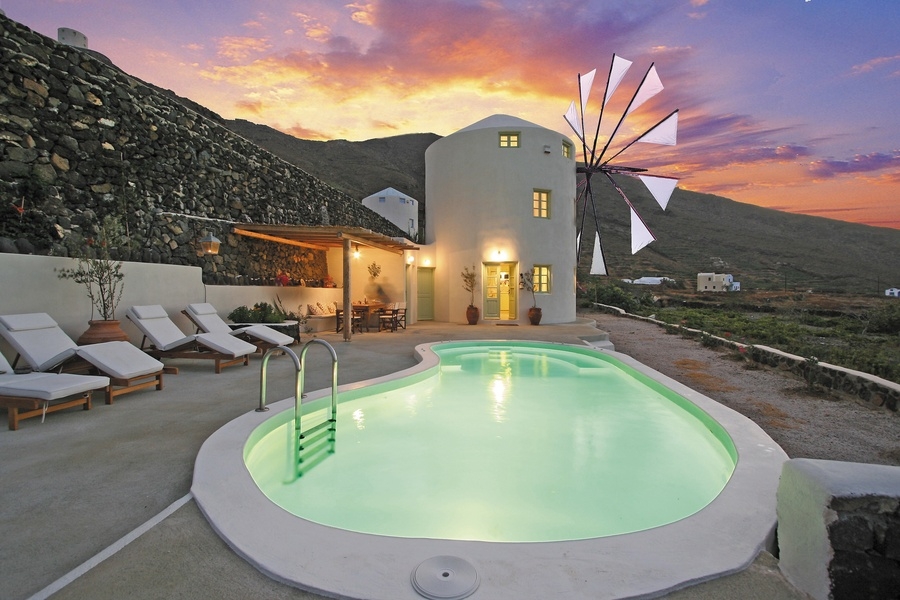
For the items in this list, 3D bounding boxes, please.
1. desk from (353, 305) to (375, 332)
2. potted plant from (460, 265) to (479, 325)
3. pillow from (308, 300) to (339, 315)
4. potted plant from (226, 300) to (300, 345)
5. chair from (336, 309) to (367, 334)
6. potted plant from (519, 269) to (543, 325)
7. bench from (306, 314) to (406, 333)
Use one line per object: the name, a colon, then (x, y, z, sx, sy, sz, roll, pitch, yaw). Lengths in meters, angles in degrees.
desk: (-2.865, 0.548, 15.226, 0.720, 0.920, 0.999, -1, -1, 15)
potted plant: (0.772, -0.227, 17.680, 0.681, 2.136, 0.388, -2, 5, 11)
pillow: (-4.123, 0.237, 15.536, 0.655, 0.471, 1.724, -3, 3, 2)
potted plant: (-4.490, 0.429, 11.429, 1.422, 0.650, 1.159, 3, 1, -4)
chair: (-3.175, 0.627, 14.830, 0.809, 1.082, 0.837, -3, -4, 25)
potted plant: (3.008, -0.143, 17.528, 0.692, 2.016, 0.528, 0, 5, 27)
bench: (-3.073, 0.688, 15.245, 3.334, 0.651, 1.676, -4, 3, -21)
